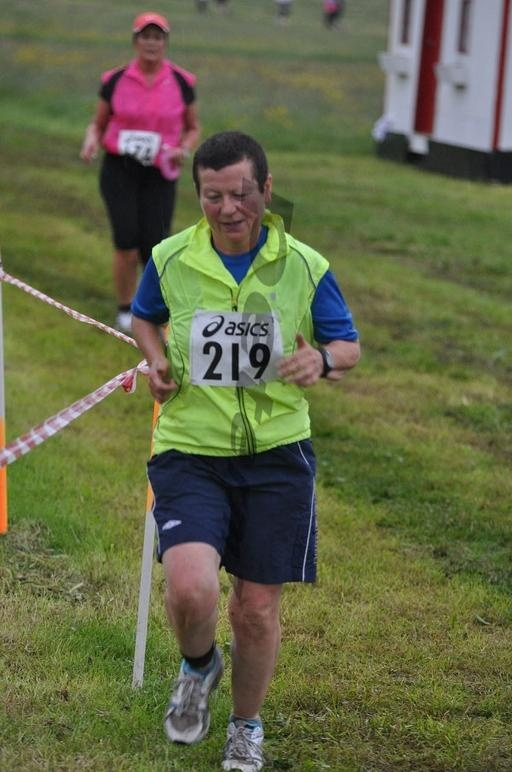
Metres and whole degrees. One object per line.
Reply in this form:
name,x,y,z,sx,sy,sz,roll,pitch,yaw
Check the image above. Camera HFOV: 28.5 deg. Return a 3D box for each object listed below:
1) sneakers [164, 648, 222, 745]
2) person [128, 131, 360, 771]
sneakers,-0.154,0.879,2.858,0.113,0.309,0.120,10,-39,6
person,-0.034,0.212,2.985,0.601,1.869,0.579,4,7,-27
